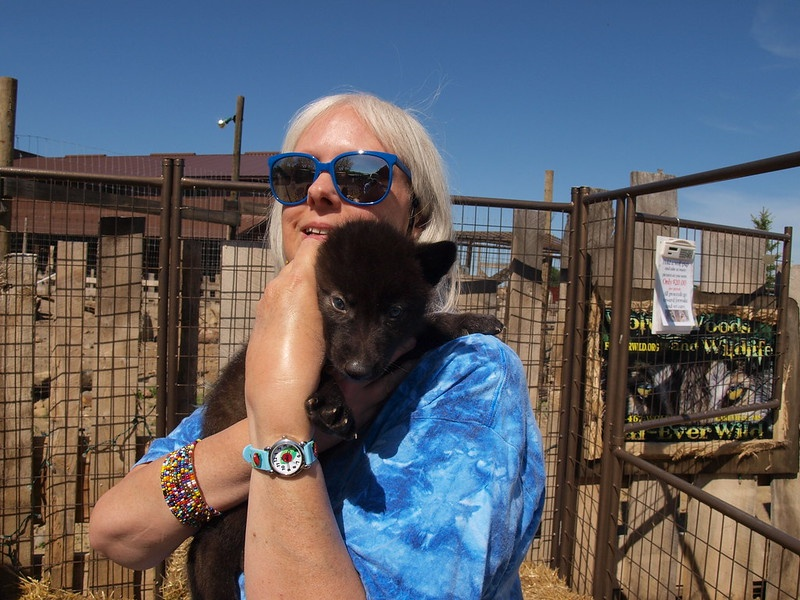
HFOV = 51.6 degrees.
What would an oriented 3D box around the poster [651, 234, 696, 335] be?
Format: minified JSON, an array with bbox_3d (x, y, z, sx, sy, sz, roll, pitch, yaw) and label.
[{"bbox_3d":[2.577,-0.130,7.791,0.441,0.917,0.158,4,-5,-18],"label":"poster"}]

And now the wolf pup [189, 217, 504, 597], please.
[{"bbox_3d":[-0.841,0.707,6.547,1.905,1.367,2.862,-27,-14,-44],"label":"wolf pup"}]

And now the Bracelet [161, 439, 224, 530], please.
[{"bbox_3d":[-1.413,1.287,5.735,0.207,0.558,0.420,-13,11,-2],"label":"Bracelet"}]
